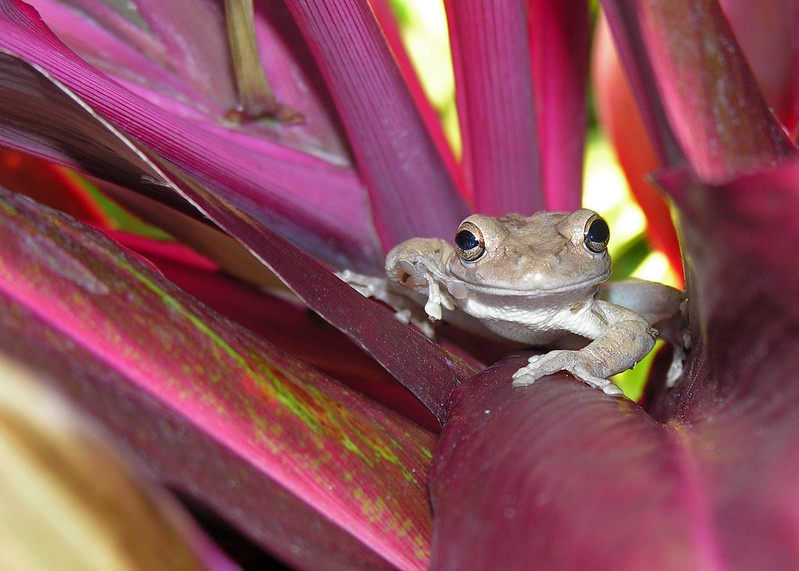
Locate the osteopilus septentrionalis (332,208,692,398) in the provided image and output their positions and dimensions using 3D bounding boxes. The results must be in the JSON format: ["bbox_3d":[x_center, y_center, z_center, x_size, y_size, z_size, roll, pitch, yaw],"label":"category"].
[{"bbox_3d":[0.190,-0.014,1.038,0.381,0.203,0.416,-5,16,-42],"label":"osteopilus septentrionalis"}]
